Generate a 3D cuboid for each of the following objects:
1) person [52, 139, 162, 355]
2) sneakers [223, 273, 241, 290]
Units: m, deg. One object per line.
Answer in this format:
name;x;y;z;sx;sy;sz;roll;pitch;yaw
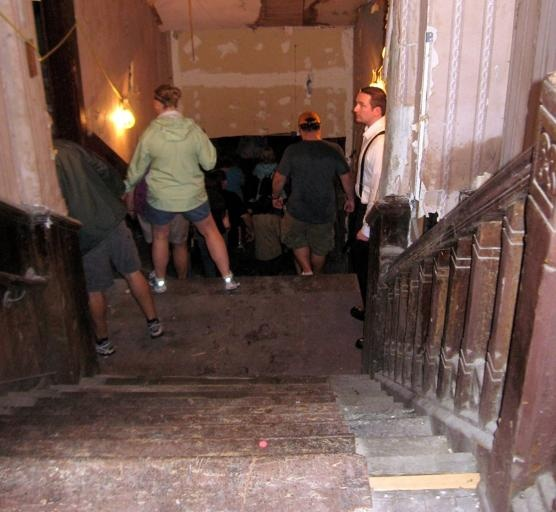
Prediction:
person;-1.213;-0.124;3.133;0.461;1.549;0.509;20;38;41
sneakers;-0.395;0.213;4.122;0.073;0.090;0.202;0;23;3
